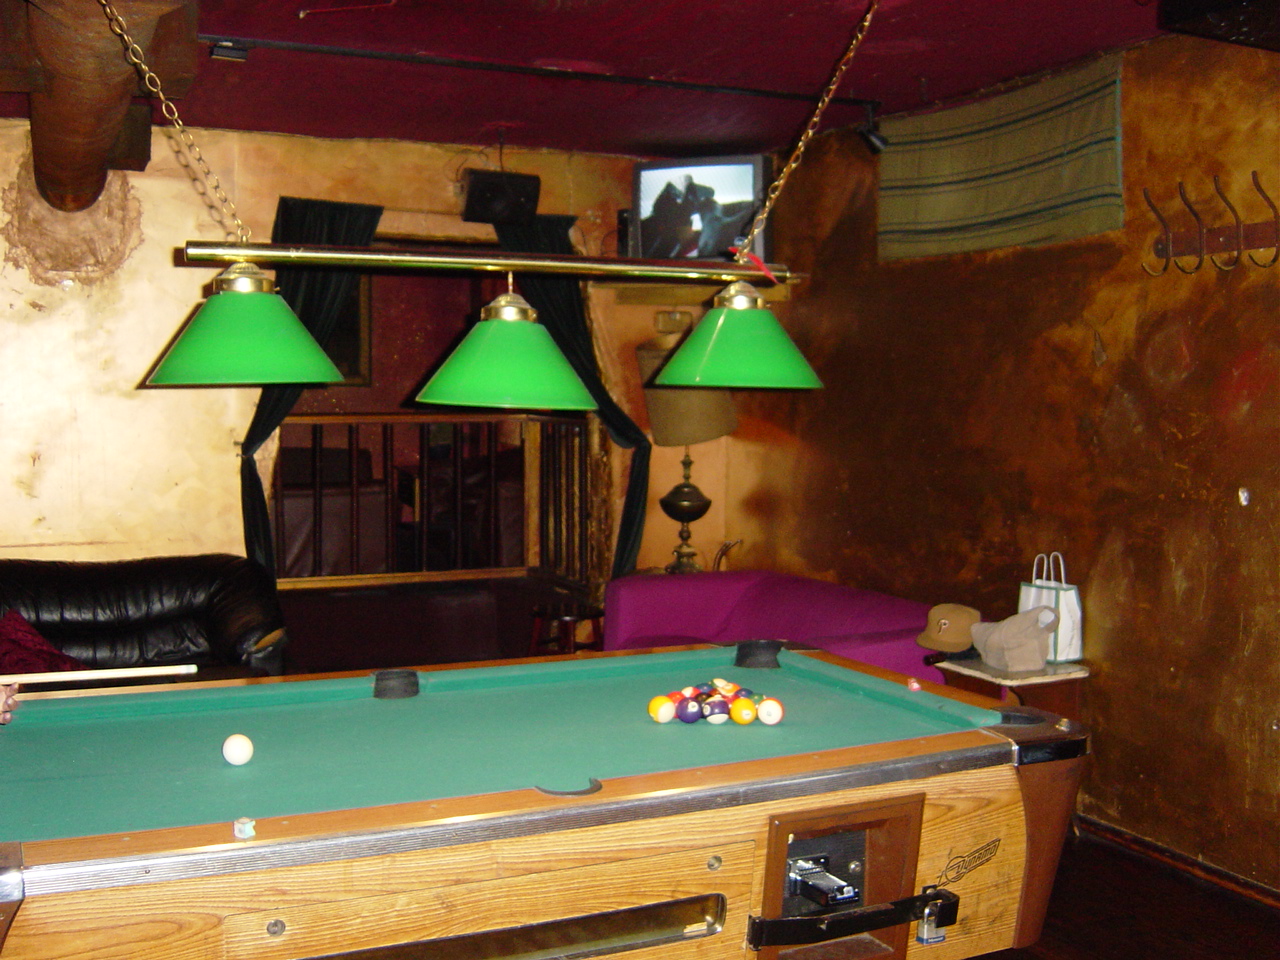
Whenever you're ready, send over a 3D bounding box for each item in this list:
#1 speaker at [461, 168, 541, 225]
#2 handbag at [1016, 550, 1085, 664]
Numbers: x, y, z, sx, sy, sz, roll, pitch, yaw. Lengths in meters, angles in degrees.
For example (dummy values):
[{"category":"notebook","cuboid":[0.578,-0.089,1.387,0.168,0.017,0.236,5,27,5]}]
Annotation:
[{"category":"speaker","cuboid":[-0.749,-1.467,6.401,0.540,0.312,0.255,0,37,-15]},{"category":"handbag","cuboid":[1.663,0.494,4.851,0.220,0.470,0.240,-1,12,-26]}]
